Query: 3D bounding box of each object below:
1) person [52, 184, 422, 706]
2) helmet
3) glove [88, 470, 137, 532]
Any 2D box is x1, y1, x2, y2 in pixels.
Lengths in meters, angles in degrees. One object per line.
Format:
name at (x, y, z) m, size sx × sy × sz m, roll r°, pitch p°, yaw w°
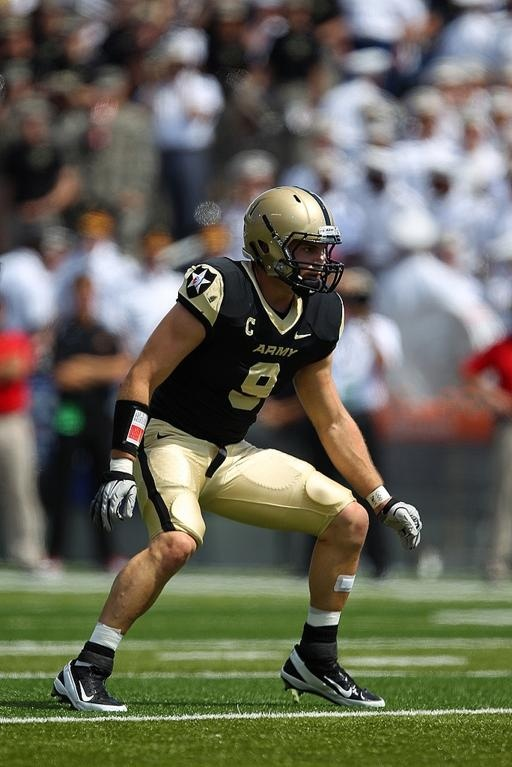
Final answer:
person at (-0.055, 0.172, 2.350) m, size 0.694 × 1.339 × 1.004 m, roll 14°, pitch 18°, yaw 32°
helmet at (0.092, -0.409, 2.517) m, size 0.321 × 0.227 × 0.260 m, roll 10°, pitch 7°, yaw 32°
glove at (-0.320, 0.262, 2.076) m, size 0.134 × 0.120 × 0.059 m, roll -29°, pitch -50°, yaw 33°
